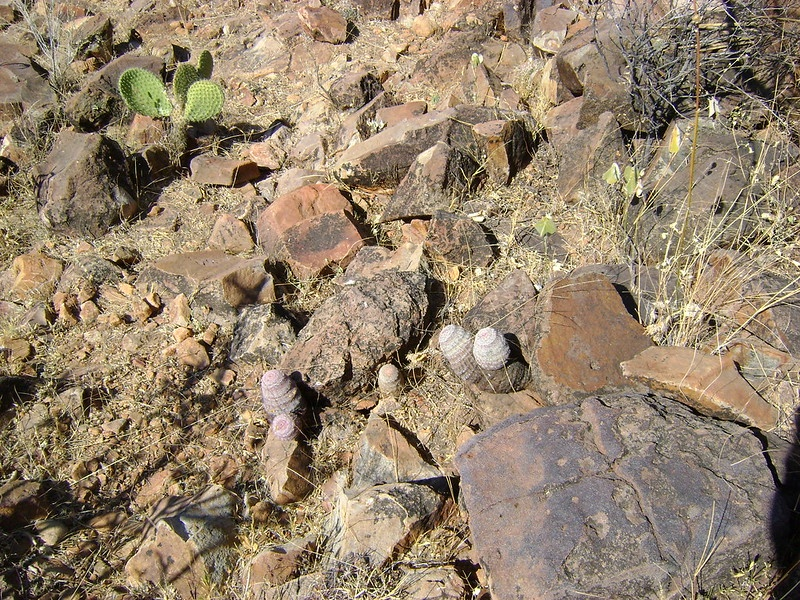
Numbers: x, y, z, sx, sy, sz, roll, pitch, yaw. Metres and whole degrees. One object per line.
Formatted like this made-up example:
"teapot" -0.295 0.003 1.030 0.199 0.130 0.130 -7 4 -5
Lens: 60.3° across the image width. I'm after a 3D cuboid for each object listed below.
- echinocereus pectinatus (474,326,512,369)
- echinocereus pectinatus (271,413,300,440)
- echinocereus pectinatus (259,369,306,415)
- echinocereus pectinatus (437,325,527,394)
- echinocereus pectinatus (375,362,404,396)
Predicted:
"echinocereus pectinatus" 0.597 0.332 4.532 0.221 0.242 0.206 4 59 25
"echinocereus pectinatus" -0.766 0.863 4.657 0.167 0.098 0.174 40 84 3
"echinocereus pectinatus" -0.808 0.641 4.683 0.251 0.326 0.299 -15 46 0
"echinocereus pectinatus" 0.625 0.302 4.715 0.410 0.266 0.591 -38 18 -6
"echinocereus pectinatus" -0.059 0.565 4.833 0.166 0.198 0.211 -2 48 0
